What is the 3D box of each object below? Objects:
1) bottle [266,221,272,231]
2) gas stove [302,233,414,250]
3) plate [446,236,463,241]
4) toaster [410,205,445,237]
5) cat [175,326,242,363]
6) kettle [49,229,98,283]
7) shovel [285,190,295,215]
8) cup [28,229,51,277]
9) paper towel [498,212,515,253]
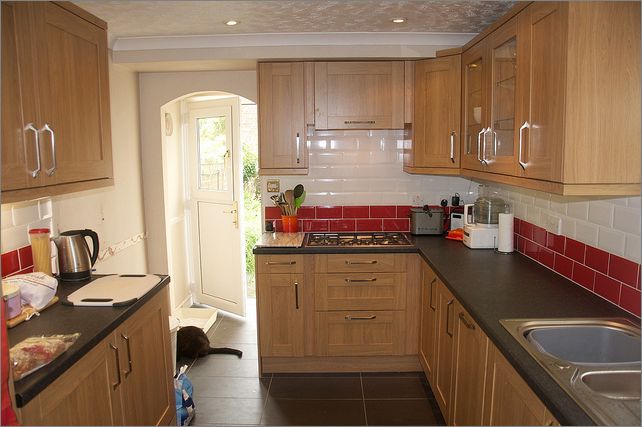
[{"bbox_3d":[-0.488,0.131,4.244,0.075,0.080,0.072,3,4,7],"label":"bottle"},{"bbox_3d":[0.331,0.237,3.984,0.934,0.044,0.633,-2,8,1],"label":"gas stove"},{"bbox_3d":[1.198,0.226,3.940,0.166,0.029,0.067,5,11,40],"label":"plate"},{"bbox_3d":[0.987,0.089,4.174,0.318,0.228,0.178,0,1,-16],"label":"toaster"},{"bbox_3d":[-0.916,1.226,4.111,0.810,0.324,0.241,1,-13,-5],"label":"cat"},{"bbox_3d":[-1.573,0.274,2.909,0.367,0.347,0.263,-1,8,-30],"label":"kettle"},{"bbox_3d":[-0.294,-0.097,4.175,0.101,0.237,0.032,-4,9,-9],"label":"shovel"},{"bbox_3d":[-1.800,0.255,2.832,0.117,0.301,0.153,-8,11,-33],"label":"cup"},{"bbox_3d":[1.488,0.162,3.528,0.113,0.316,0.089,1,10,21],"label":"paper towel"}]
